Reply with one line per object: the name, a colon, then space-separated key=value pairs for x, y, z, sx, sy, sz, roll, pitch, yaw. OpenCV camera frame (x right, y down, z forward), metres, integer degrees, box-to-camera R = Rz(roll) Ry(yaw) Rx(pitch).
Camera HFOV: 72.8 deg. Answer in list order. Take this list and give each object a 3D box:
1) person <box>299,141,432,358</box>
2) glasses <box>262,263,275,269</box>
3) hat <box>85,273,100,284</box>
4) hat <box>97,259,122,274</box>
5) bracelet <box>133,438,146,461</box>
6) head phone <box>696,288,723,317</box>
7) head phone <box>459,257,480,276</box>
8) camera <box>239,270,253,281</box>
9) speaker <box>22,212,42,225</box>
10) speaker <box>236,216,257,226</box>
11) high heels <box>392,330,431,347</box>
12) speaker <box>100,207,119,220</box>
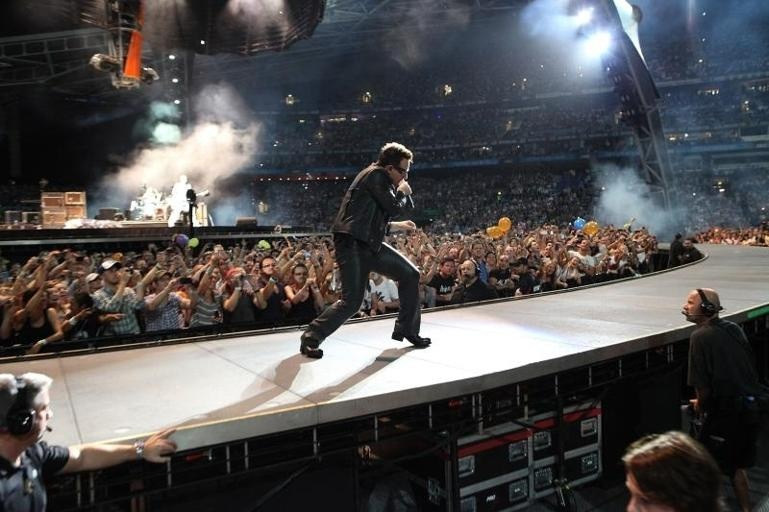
person: x=-0.221 y=-0.079 z=5.717 sx=1.369 sy=2.271 sz=0.542 roll=-6 pitch=11 yaw=-22
glasses: x=-1.758 y=0.151 z=7.778 sx=0.207 sy=0.055 sz=0.055 roll=5 pitch=12 yaw=34
hat: x=-4.054 y=0.288 z=7.186 sx=0.161 sy=0.103 sz=0.250 roll=-7 pitch=11 yaw=-30
hat: x=-3.725 y=0.154 z=6.981 sx=0.287 sy=0.160 sz=0.149 roll=-2 pitch=10 yaw=-7
bracelet: x=-1.956 y=1.529 z=4.135 sx=0.093 sy=0.123 sz=0.047 roll=3 pitch=-3 yaw=-13
head phone: x=3.588 y=0.503 z=5.894 sx=0.228 sy=0.254 sz=0.308 roll=-24 pitch=14 yaw=-33
head phone: x=1.357 y=0.194 z=8.358 sx=0.246 sy=0.306 sz=0.295 roll=-1 pitch=40 yaw=10
camera: x=-1.928 y=0.295 z=7.319 sx=0.173 sy=0.123 sz=0.335 roll=-3 pitch=9 yaw=-10
speaker: x=-15.503 y=-1.618 z=22.754 sx=0.711 sy=0.645 sz=0.371 roll=-1 pitch=-30 yaw=-35
speaker: x=-6.061 y=-1.474 z=22.770 sx=0.882 sy=0.399 sz=0.624 roll=-1 pitch=1 yaw=-17
high heels: x=0.316 y=0.922 z=6.010 sx=0.491 sy=0.198 sz=0.175 roll=5 pitch=1 yaw=1
speaker: x=-12.091 y=-1.802 z=22.718 sx=0.653 sy=0.445 sz=0.636 roll=2 pitch=-2 yaw=-30
